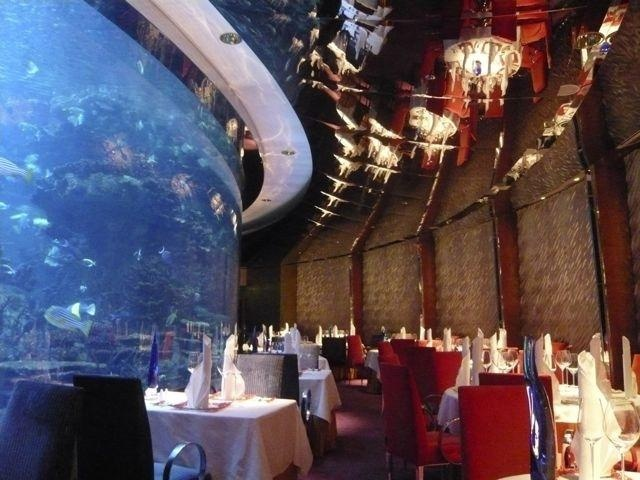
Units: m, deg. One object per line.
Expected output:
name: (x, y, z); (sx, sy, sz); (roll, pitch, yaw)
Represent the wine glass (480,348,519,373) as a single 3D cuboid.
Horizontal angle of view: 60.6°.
wine glass: (1.730, 1.150, 5.232); (0.278, 0.350, 0.292); (-6, -13, 29)
